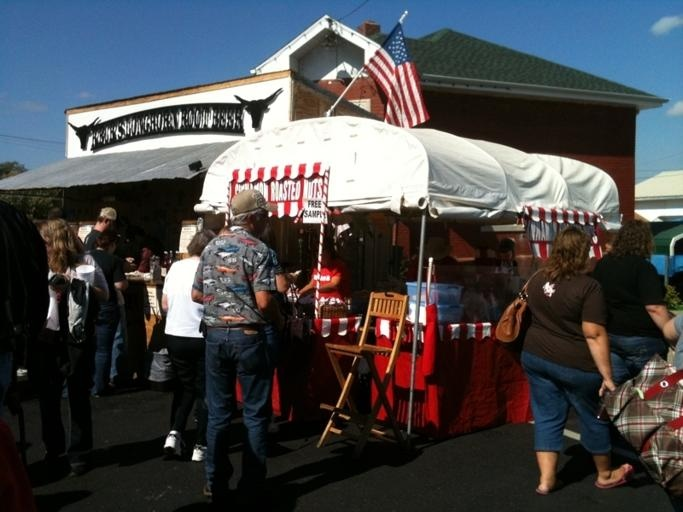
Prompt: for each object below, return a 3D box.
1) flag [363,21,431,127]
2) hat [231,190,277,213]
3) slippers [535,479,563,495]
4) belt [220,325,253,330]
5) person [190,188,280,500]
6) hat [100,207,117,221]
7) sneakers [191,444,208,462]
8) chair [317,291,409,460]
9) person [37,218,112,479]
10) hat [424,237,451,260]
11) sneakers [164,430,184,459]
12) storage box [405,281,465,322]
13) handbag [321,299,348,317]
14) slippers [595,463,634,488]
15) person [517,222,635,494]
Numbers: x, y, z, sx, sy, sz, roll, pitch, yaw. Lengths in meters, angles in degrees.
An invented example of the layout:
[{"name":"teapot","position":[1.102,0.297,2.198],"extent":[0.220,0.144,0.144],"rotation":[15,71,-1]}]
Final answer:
[{"name":"flag","position":[0.806,-2.553,9.449],"extent":[0.554,1.461,0.974],"rotation":[-6,11,-41]},{"name":"hat","position":[-0.817,-0.463,6.179],"extent":[0.364,0.208,0.253],"rotation":[-13,16,-19]},{"name":"slippers","position":[1.939,2.180,6.262],"extent":[0.230,0.105,0.108],"rotation":[-8,7,-38]},{"name":"belt","position":[-0.899,0.621,5.785],"extent":[0.271,0.046,0.033],"rotation":[1,8,3]},{"name":"person","position":[-0.912,0.821,5.973],"extent":[0.649,2.768,0.636],"rotation":[-1,8,-13]},{"name":"hat","position":[-3.067,-0.532,8.737],"extent":[0.187,0.170,0.239],"rotation":[-1,9,-14]},{"name":"sneakers","position":[-1.434,1.991,6.754],"extent":[0.154,0.138,0.290],"rotation":[4,-22,2]},{"name":"chair","position":[0.238,1.221,7.306],"extent":[0.893,1.673,0.905],"rotation":[5,-16,14]},{"name":"person","position":[-2.612,0.876,6.368],"extent":[0.519,2.421,0.381],"rotation":[-3,8,-22]},{"name":"hat","position":[1.325,-0.098,9.067],"extent":[0.333,0.252,0.384],"rotation":[-2,9,-15]},{"name":"sneakers","position":[-1.711,1.903,6.749],"extent":[0.151,0.339,0.222],"rotation":[-2,24,6]},{"name":"storage box","position":[1.050,0.516,7.581],"extent":[0.552,0.424,0.391],"rotation":[1,-2,-29]},{"name":"handbag","position":[-0.092,0.566,7.696],"extent":[0.173,0.129,0.263],"rotation":[1,-1,23]},{"name":"slippers","position":[2.592,2.092,6.330],"extent":[0.344,0.138,0.173],"rotation":[-9,9,-20]},{"name":"person","position":[2.051,1.002,6.055],"extent":[0.877,2.459,0.644],"rotation":[4,8,25]}]
